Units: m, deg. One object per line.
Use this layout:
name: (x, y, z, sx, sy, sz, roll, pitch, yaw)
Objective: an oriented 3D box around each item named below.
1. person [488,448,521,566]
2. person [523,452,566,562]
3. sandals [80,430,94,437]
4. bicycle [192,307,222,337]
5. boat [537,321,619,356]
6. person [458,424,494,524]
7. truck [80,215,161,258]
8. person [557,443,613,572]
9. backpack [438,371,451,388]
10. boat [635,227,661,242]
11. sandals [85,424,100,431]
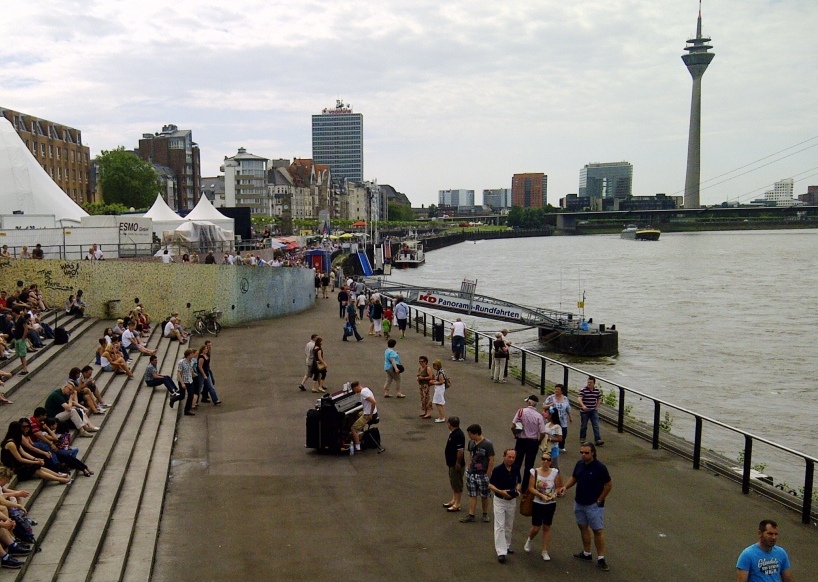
person: (1.857, 4.272, 18.168, 0.545, 2.172, 0.685, 6, 16, 20)
person: (2.707, 4.296, 18.118, 0.737, 1.969, 1.155, 8, -8, -41)
sandals: (-7.977, 3.508, 22.298, 0.405, 0.169, 0.127, 3, 7, 8)
bicycle: (-8.077, 1.277, 36.290, 1.380, 0.876, 0.705, -4, 7, 8)
boat: (8.358, 2.492, 45.590, 2.061, 1.003, 2.645, -2, 3, -39)
person: (1.448, 3.771, 19.214, 0.807, 2.060, 0.770, -1, 1, -42)
truck: (-14.555, -2.638, 43.955, 2.910, 1.912, 3.026, 3, 5, 29)
person: (3.504, 4.242, 18.021, 1.061, 2.352, 0.853, 1, -3, 35)
backpack: (0.976, 2.404, 24.883, 0.456, 0.455, 0.325, -3, 14, -11)
boat: (61.184, -14.308, 233.617, 5.682, 3.747, 10.817, -1, 3, 12)
sandals: (-7.878, 3.404, 22.448, 0.128, 0.137, 0.366, 21, 1, 41)
